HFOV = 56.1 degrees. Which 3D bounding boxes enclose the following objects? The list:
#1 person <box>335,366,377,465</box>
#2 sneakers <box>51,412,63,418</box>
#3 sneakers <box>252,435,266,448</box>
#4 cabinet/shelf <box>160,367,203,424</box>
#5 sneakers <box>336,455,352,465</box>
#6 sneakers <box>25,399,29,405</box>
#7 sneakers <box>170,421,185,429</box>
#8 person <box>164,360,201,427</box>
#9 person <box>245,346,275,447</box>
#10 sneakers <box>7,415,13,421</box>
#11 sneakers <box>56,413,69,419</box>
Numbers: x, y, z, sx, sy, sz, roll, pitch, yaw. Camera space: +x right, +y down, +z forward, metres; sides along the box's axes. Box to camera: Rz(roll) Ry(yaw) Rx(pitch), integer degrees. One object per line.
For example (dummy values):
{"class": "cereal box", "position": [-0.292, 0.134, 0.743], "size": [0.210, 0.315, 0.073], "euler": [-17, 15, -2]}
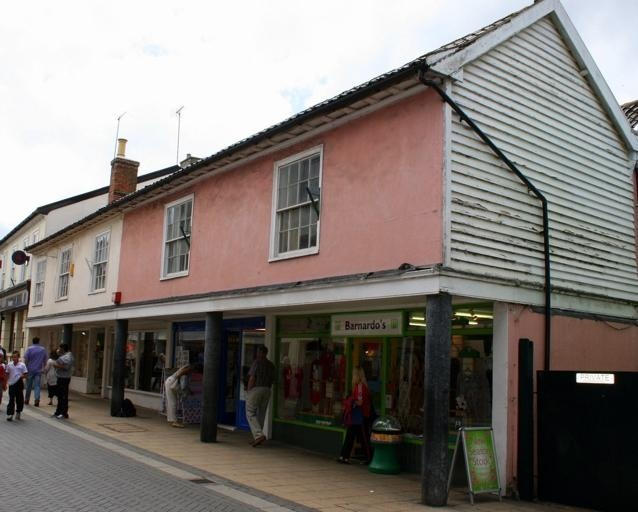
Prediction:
{"class": "person", "position": [0.702, 3.022, 11.404], "size": [0.591, 1.758, 0.832], "euler": [-1, -13, 7]}
{"class": "sneakers", "position": [-6.742, 4.076, 15.325], "size": [0.541, 0.117, 0.204], "euler": [-11, -18, 40]}
{"class": "sneakers", "position": [-1.255, 3.906, 12.774], "size": [0.246, 0.253, 0.571], "euler": [-1, -14, 9]}
{"class": "cabinet/shelf", "position": [-3.550, 3.514, 15.432], "size": [0.830, 1.504, 0.652], "euler": [10, -4, -14]}
{"class": "sneakers", "position": [0.459, 3.853, 11.357], "size": [0.109, 0.147, 0.304], "euler": [2, -2, -26]}
{"class": "sneakers", "position": [-8.594, 4.291, 17.556], "size": [0.145, 0.152, 0.134], "euler": [0, -8, 3]}
{"class": "sneakers", "position": [-3.559, 4.215, 14.971], "size": [0.151, 0.204, 0.442], "euler": [6, -16, -41]}
{"class": "person", "position": [-3.591, 3.528, 15.282], "size": [0.741, 1.541, 0.731], "euler": [13, -17, -42]}
{"class": "person", "position": [-1.277, 2.966, 12.749], "size": [0.431, 2.044, 0.626], "euler": [-11, -17, 43]}
{"class": "sneakers", "position": [-7.538, 3.930, 14.539], "size": [0.119, 0.053, 0.214], "euler": [0, -6, -22]}
{"class": "sneakers", "position": [-6.566, 4.084, 15.277], "size": [0.279, 0.127, 0.122], "euler": [15, -18, -31]}
